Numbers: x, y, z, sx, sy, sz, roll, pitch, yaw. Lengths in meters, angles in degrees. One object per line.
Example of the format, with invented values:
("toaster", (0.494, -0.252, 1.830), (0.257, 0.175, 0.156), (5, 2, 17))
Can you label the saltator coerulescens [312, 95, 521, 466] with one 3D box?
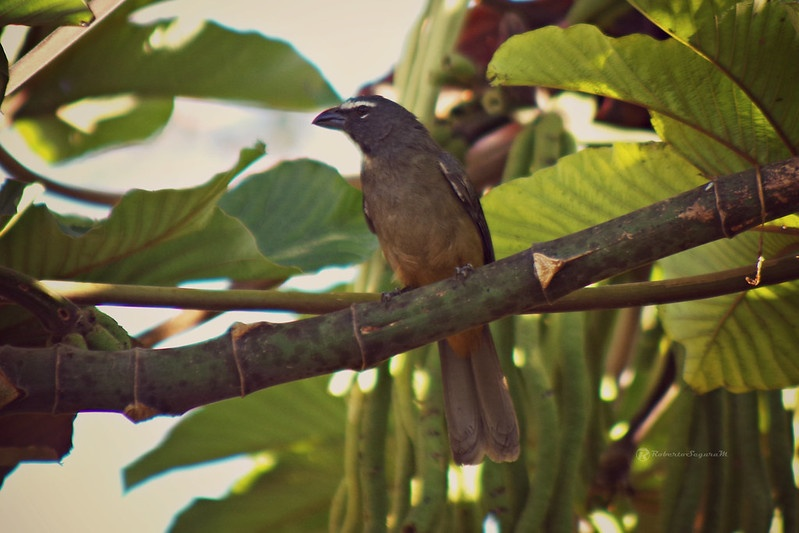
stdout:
("saltator coerulescens", (0.164, -0.066, 5.522), (0.648, 2.133, 0.920), (-15, 1, -3))
